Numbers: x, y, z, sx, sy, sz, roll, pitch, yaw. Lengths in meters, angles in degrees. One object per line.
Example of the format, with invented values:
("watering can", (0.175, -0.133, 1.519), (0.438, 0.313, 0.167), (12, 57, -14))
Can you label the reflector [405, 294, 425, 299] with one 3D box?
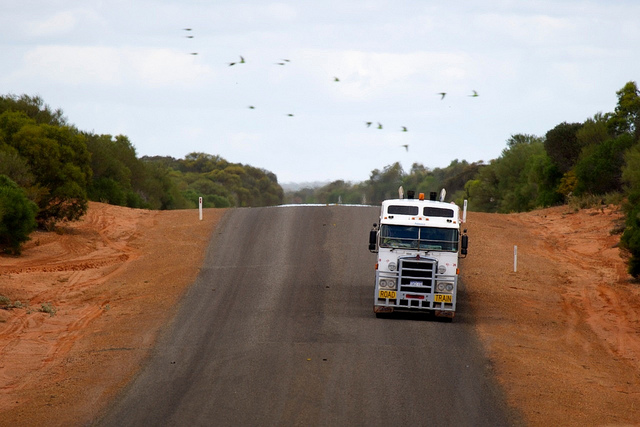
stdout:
("reflector", (4.057, 3.555, 25.758), (0.829, 0.189, 0.084), (2, 0, 4))

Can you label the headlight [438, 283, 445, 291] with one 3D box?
("headlight", (5.186, 3.127, 25.707), (0.224, 0.301, 0.061), (-2, -5, -3))

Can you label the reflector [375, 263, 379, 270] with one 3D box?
("reflector", (2.494, 2.271, 25.966), (0.094, 0.269, 0.044), (1, 0, 30))
